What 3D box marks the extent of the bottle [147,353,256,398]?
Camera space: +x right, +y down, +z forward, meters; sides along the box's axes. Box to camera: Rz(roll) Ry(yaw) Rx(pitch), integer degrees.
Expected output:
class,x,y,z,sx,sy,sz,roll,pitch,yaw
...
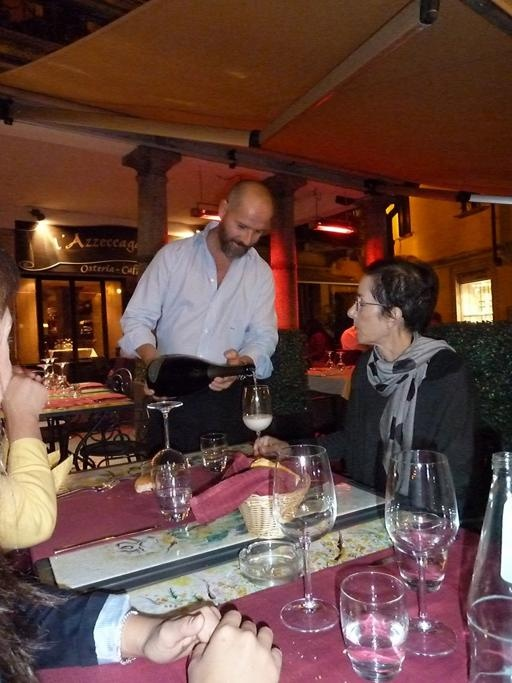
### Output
class,x,y,z,sx,sy,sz,roll,pitch,yaw
bottle,-0.218,0.137,2.157,0.413,0.165,0.227,-2,2,1

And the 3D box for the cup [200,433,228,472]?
class,x,y,z,sx,sy,sz,roll,pitch,yaw
cup,-0.134,0.351,1.736,0.104,0.099,0.096,-1,-11,0

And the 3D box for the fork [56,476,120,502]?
class,x,y,z,sx,sy,sz,roll,pitch,yaw
fork,-0.472,0.413,1.579,0.165,0.039,0.042,-10,16,-27

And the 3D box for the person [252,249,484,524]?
class,x,y,z,sx,sy,sz,roll,pitch,yaw
person,0.371,0.161,2.482,0.953,1.336,1.054,2,2,-12
